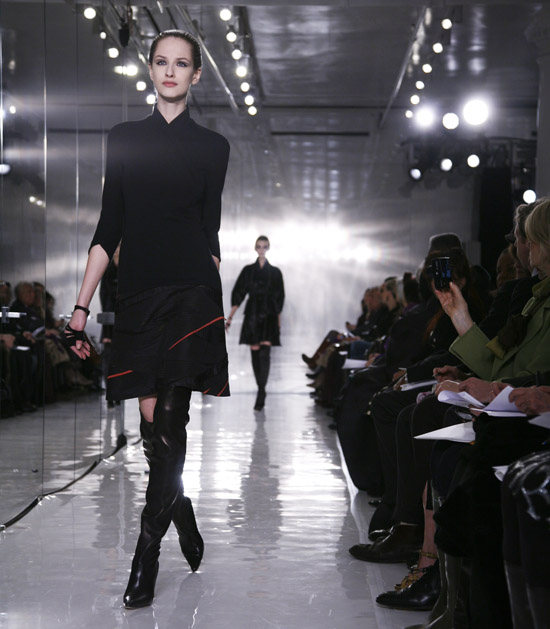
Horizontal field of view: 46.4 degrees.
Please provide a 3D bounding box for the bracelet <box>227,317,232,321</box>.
[{"bbox_3d":[-0.479,0.049,6.747,0.037,0.036,0.058,3,4,-3],"label":"bracelet"}]

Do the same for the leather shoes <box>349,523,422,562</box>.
[{"bbox_3d":[0.382,0.763,2.149,0.283,0.113,0.096,-1,-9,15],"label":"leather shoes"}]

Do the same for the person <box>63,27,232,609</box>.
[{"bbox_3d":[-0.340,-0.007,1.772,0.448,1.566,0.152,1,-2,-19],"label":"person"}]

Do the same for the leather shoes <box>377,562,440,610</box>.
[{"bbox_3d":[0.319,0.731,1.687,0.230,0.090,0.077,-2,-11,3],"label":"leather shoes"}]
